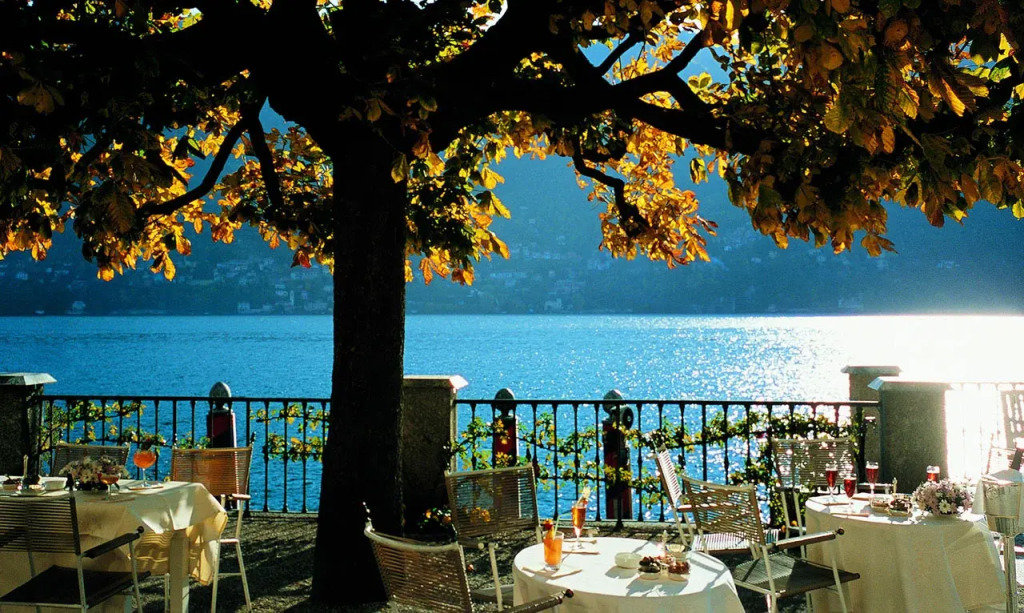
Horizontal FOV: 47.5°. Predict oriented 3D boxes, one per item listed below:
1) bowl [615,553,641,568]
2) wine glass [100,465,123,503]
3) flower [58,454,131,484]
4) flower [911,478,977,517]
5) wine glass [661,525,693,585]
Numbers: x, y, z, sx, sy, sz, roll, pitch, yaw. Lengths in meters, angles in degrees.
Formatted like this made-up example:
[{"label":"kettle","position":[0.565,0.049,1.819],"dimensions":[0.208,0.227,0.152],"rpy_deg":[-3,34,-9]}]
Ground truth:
[{"label":"bowl","position":[1.206,2.615,12.020],"dimensions":[0.182,0.077,0.170],"rpy_deg":[0,-2,0]},{"label":"wine glass","position":[-4.581,2.022,13.401],"dimensions":[0.355,0.413,0.326],"rpy_deg":[0,-10,-3]},{"label":"flower","position":[-4.814,1.896,13.493],"dimensions":[0.448,0.208,0.452],"rpy_deg":[1,-1,7]},{"label":"flower","position":[4.855,2.154,13.120],"dimensions":[0.448,0.257,0.459],"rpy_deg":[-1,-4,-1]},{"label":"wine glass","position":[1.691,2.601,12.008],"dimensions":[0.317,0.164,0.453],"rpy_deg":[3,17,2]}]
